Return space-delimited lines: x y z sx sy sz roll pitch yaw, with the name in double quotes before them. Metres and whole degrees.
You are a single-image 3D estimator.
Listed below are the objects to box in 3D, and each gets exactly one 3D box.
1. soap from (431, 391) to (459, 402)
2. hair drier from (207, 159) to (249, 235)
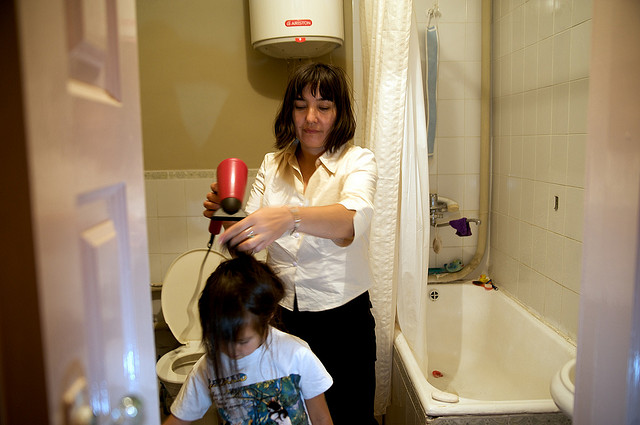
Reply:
"soap" 0.417 0.632 1.624 0.051 0.011 0.053 2 0 7
"hair drier" -0.207 -0.026 1.092 0.094 0.190 0.250 -3 8 -13
